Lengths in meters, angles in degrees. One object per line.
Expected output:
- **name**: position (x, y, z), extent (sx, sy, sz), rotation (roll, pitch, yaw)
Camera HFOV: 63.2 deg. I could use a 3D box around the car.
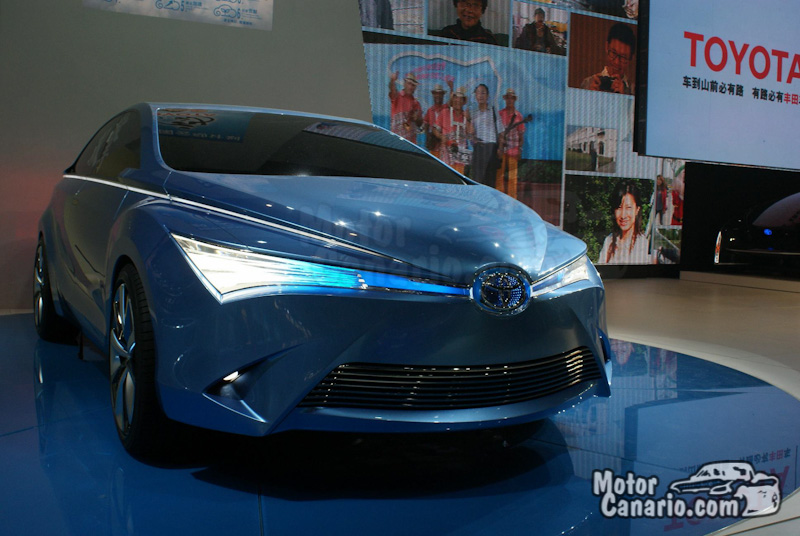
- **car**: position (-0.495, 0.003, 3.013), extent (2.753, 1.471, 1.378), rotation (9, 15, 29)
